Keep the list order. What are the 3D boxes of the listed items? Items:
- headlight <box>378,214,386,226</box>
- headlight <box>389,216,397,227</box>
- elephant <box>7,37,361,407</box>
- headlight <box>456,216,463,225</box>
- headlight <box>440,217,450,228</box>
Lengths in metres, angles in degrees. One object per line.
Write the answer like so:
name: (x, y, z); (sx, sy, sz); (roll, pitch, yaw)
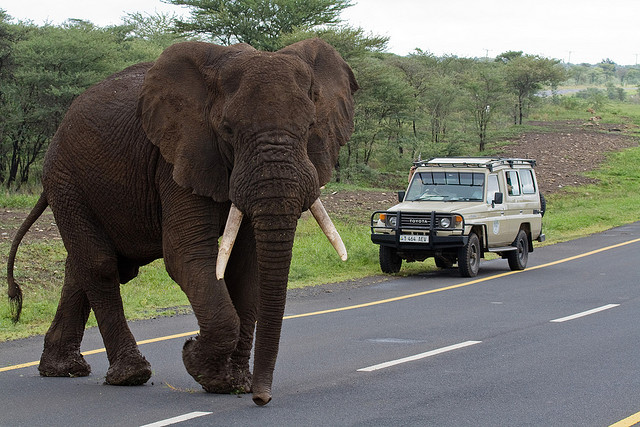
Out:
headlight: (1.687, 0.176, 16.657); (0.104, 0.308, 0.261); (-3, 4, -41)
headlight: (1.973, 0.209, 16.506); (0.233, 0.220, 0.228); (3, -1, 0)
elephant: (-1.859, 0.111, 7.976); (5.336, 4.250, 3.211); (1, 3, 23)
headlight: (3.644, 0.170, 15.978); (0.197, 0.249, 0.178); (2, -4, -7)
headlight: (3.306, 0.234, 16.063); (0.253, 0.237, 0.242); (0, 1, 4)
